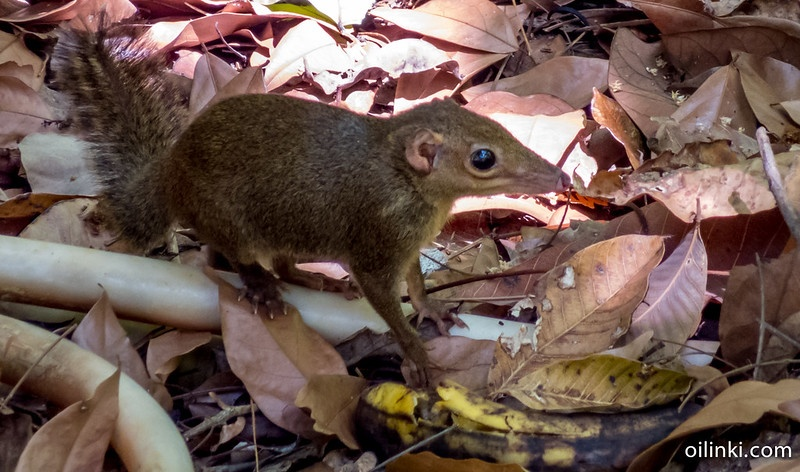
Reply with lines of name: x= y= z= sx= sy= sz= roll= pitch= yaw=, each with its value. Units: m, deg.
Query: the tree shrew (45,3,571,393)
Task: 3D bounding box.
tree shrew: x=-0.873 y=-0.414 z=5.758 sx=3.509 sy=1.811 sz=1.418 roll=10 pitch=37 yaw=20
